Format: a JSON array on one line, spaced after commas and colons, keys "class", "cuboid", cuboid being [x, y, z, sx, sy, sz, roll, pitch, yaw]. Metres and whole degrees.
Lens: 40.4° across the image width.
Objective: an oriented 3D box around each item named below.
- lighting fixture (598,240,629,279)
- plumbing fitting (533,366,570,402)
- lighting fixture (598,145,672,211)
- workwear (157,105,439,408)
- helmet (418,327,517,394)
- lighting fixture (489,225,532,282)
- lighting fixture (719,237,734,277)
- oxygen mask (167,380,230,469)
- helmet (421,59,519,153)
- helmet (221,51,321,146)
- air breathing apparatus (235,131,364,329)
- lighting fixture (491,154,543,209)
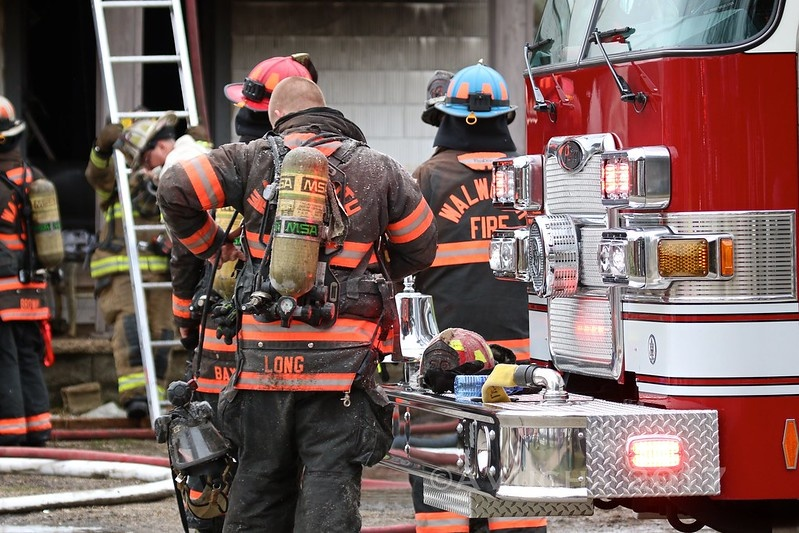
[{"class": "lighting fixture", "cuboid": [1.035, -0.038, 5.270, 0.053, 0.159, 0.144, -1, 6, -32]}, {"class": "plumbing fitting", "cuboid": [0.743, 0.573, 5.365, 0.162, 0.191, 0.125, -1, 16, 25]}, {"class": "lighting fixture", "cuboid": [1.137, -0.433, 5.352, 0.175, 0.311, 0.325, -3, 4, -28]}, {"class": "workwear", "cuboid": [-0.357, -0.165, 5.887, 1.802, 2.080, 1.205, 1, 1, 7]}, {"class": "helmet", "cuboid": [0.383, 0.494, 5.909, 0.541, 0.351, 0.369, 1, -2, -42]}, {"class": "lighting fixture", "cuboid": [0.597, -0.073, 5.901, 0.234, 0.250, 0.264, -2, 3, -30]}, {"class": "lighting fixture", "cuboid": [1.540, -0.044, 5.119, 0.085, 0.187, 0.017, -3, 4, -16]}, {"class": "oxygen mask", "cuboid": [-1.004, 0.827, 5.526, 0.294, 0.426, 0.407, -25, 1, -12]}, {"class": "helmet", "cuboid": [0.498, -0.976, 6.865, 0.559, 0.582, 0.504, 4, 4, -1]}, {"class": "helmet", "cuboid": [-0.721, -1.078, 6.787, 0.702, 0.362, 0.505, -19, 46, -36]}, {"class": "air breathing apparatus", "cuboid": [-0.507, -0.165, 5.370, 0.642, 0.942, 0.391, -2, 4, -4]}, {"class": "lighting fixture", "cuboid": [0.648, -0.470, 6.072, 0.102, 0.234, 0.305, -1, 1, -20]}]
